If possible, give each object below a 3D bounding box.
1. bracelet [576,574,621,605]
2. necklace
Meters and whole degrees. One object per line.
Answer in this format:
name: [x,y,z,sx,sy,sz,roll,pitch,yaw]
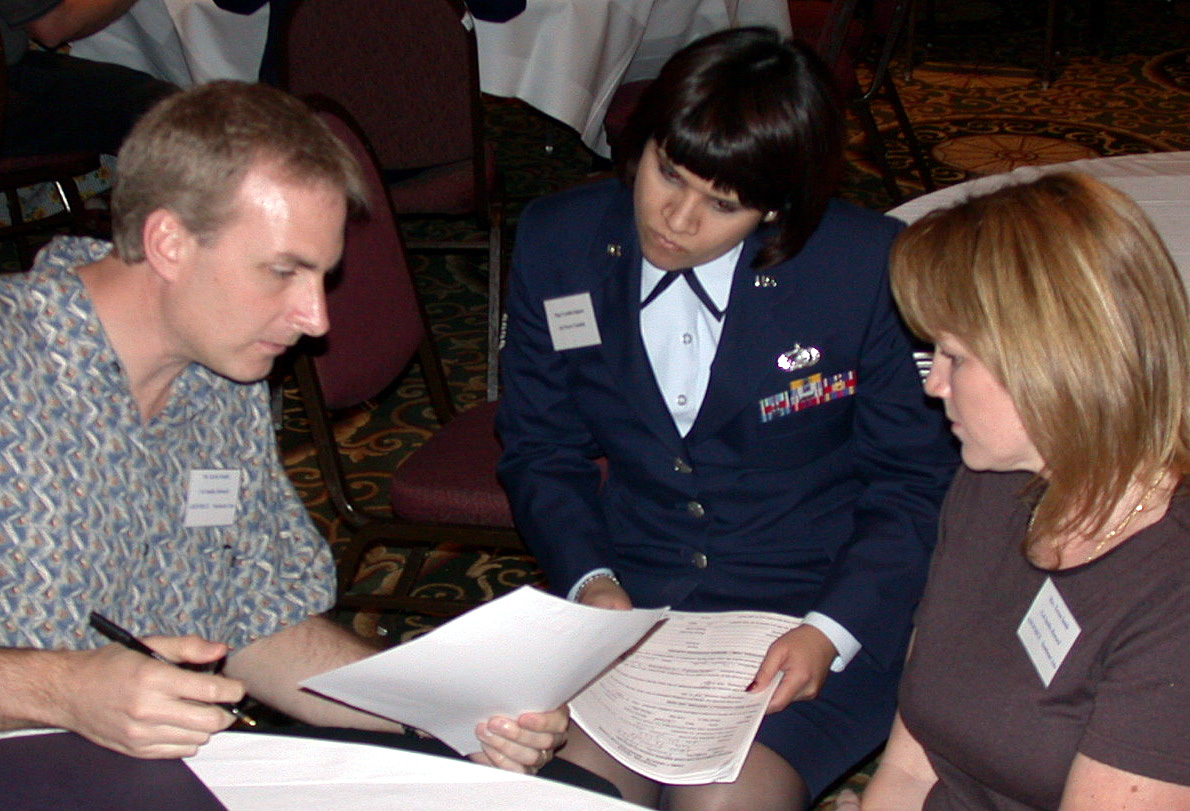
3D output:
bracelet: [0.011,0.366,1.744,0.071,0.027,0.049,10,-6,-18]
necklace: [0.764,0.175,1.308,0.181,0.041,0.129,-22,0,-12]
